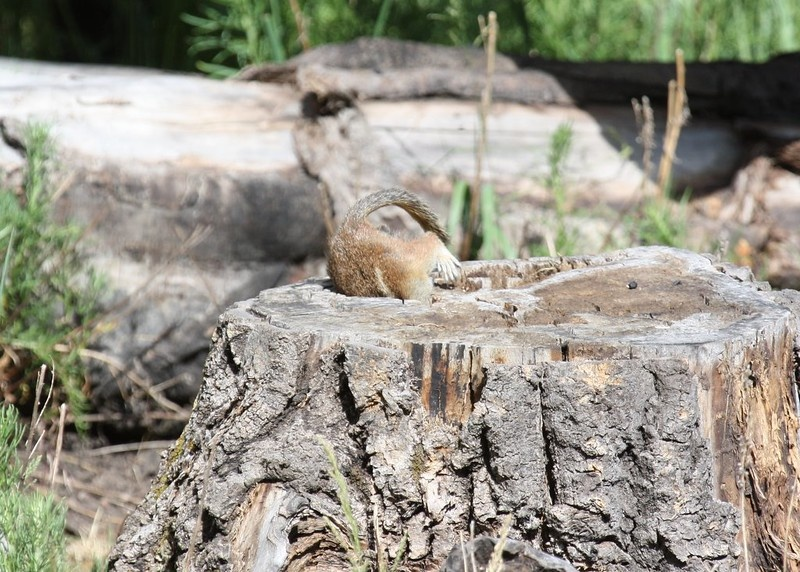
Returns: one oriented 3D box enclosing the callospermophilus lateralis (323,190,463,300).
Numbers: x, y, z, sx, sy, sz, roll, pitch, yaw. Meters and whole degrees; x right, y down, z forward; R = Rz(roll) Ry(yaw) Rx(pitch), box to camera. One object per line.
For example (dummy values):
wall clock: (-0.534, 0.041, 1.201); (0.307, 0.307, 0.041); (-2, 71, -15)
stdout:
callospermophilus lateralis: (-0.036, -0.256, 10.157); (0.894, 0.660, 0.584); (-5, 23, -4)
